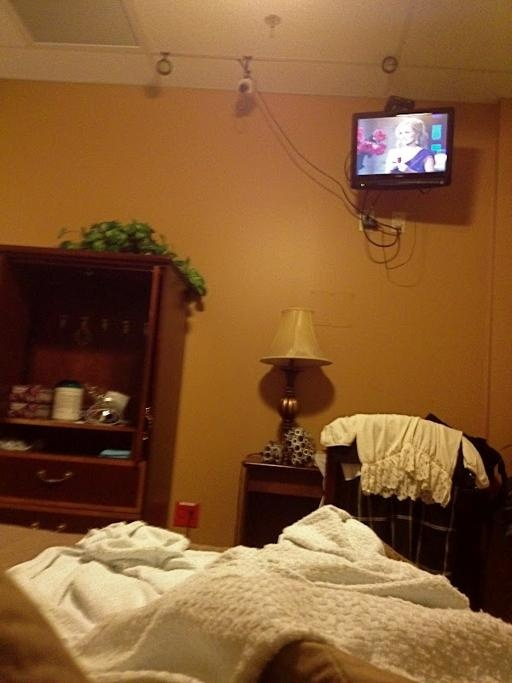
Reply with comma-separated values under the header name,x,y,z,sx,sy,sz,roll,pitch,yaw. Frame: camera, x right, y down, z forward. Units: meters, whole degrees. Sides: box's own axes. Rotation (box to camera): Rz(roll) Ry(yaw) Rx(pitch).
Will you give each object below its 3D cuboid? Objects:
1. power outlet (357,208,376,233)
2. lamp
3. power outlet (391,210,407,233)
name,x,y,z,sx,sy,sz,roll,pitch,yaw
power outlet,0.553,-0.593,3.034,0.136,0.118,0.031,2,2,6
lamp,0.179,0.152,2.775,0.326,0.525,0.419,-5,1,6
power outlet,0.704,-0.593,3.024,0.092,0.092,0.028,3,5,19
